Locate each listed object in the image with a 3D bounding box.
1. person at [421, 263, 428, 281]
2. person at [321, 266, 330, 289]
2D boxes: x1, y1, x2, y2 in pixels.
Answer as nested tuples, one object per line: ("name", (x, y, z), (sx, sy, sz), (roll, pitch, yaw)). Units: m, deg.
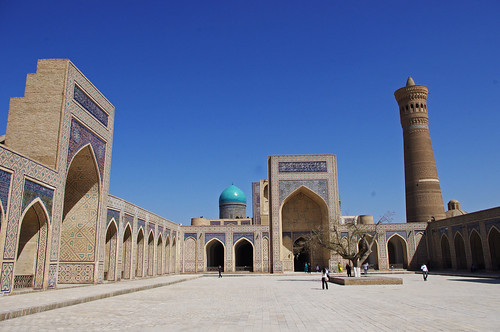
("person", (8.135, 4.954, 17.077), (0.207, 0.724, 1.331), (-10, -19, 22))
("person", (2.759, 4.130, 13.556), (0.244, 0.780, 0.915), (-6, -18, 9))
